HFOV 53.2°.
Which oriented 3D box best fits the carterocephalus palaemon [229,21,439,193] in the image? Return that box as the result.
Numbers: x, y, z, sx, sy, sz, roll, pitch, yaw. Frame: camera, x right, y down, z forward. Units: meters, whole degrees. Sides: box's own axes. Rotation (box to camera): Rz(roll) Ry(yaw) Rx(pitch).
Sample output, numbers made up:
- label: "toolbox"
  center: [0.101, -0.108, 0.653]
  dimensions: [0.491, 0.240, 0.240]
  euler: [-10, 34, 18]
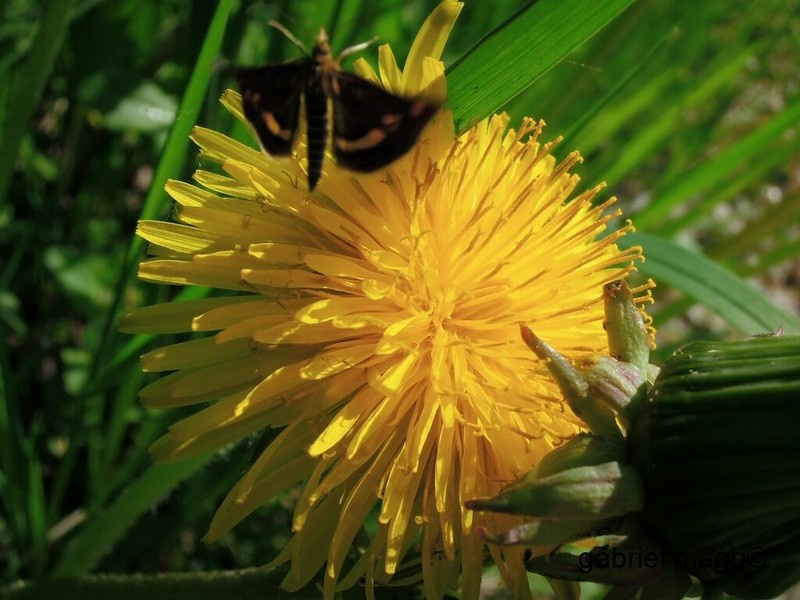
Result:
- label: "carterocephalus palaemon"
  center: [-0.097, -0.194, 0.809]
  dimensions: [0.066, 0.152, 0.241]
  euler: [10, 11, 11]
